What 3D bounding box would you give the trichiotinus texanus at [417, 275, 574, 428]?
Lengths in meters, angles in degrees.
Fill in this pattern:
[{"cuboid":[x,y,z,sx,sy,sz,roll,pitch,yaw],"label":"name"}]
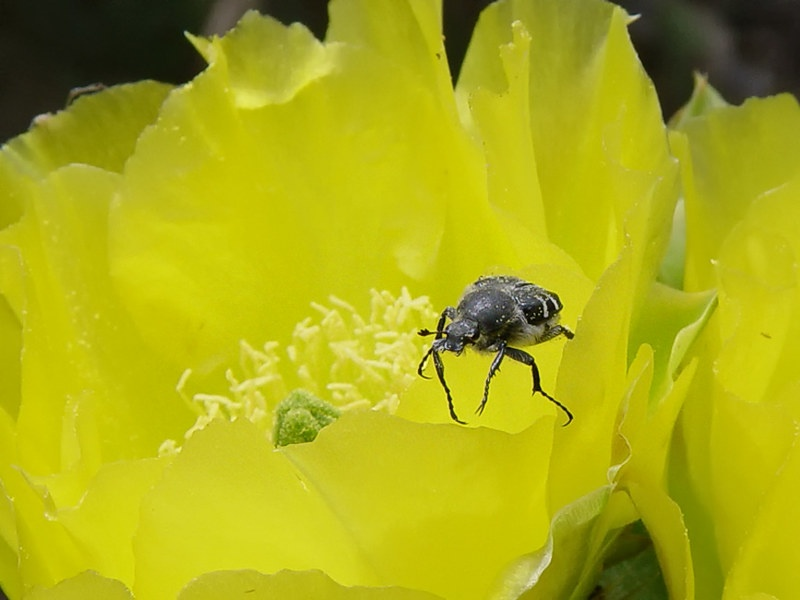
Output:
[{"cuboid":[0.057,0.023,0.752,0.077,0.059,0.085,-12,17,-29],"label":"trichiotinus texanus"}]
